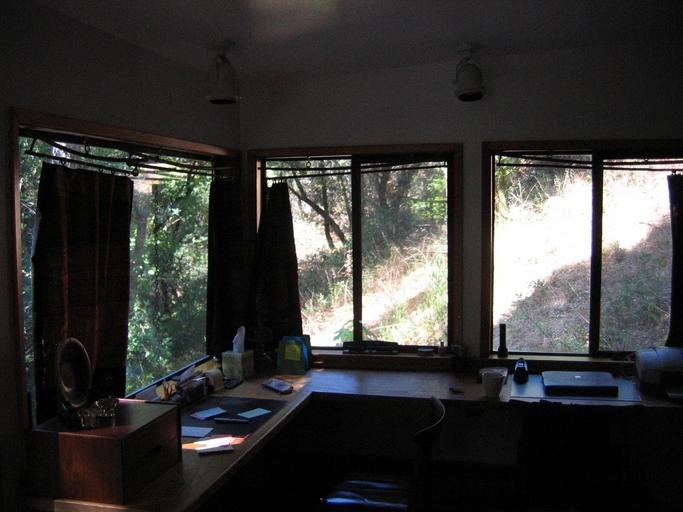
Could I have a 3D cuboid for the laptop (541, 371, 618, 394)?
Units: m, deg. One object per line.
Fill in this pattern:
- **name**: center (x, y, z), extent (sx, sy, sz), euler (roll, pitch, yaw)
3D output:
- **laptop**: center (1.483, 0.795, 3.620), extent (0.435, 0.095, 0.287), euler (-1, 2, 7)
